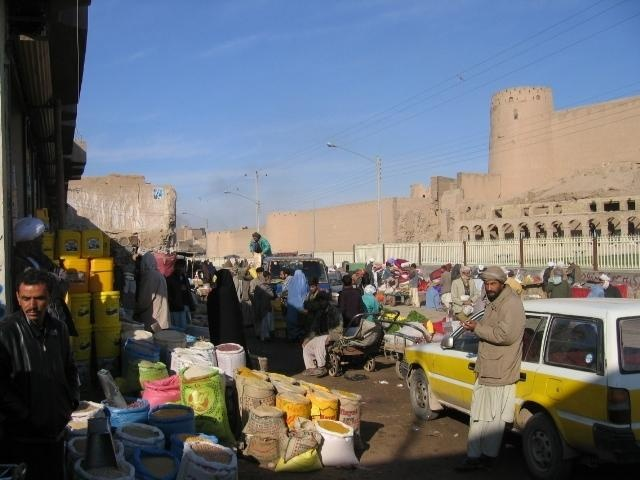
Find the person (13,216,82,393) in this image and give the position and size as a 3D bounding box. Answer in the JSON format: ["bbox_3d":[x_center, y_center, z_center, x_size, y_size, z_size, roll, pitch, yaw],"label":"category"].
[{"bbox_3d":[-3.267,0.605,6.983,0.578,1.821,0.619,5,31,11],"label":"person"}]

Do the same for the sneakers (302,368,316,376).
[{"bbox_3d":[-0.199,2.294,10.035,0.208,0.089,0.097,3,-1,35],"label":"sneakers"}]

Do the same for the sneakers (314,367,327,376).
[{"bbox_3d":[0.037,2.303,10.068,0.105,0.112,0.308,3,1,34],"label":"sneakers"}]

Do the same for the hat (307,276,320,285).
[{"bbox_3d":[-0.138,0.849,11.700,0.185,0.175,0.252,2,1,-9],"label":"hat"}]

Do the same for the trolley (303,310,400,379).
[{"bbox_3d":[0.563,1.893,10.537,0.990,1.047,1.734,6,-9,-24],"label":"trolley"}]
